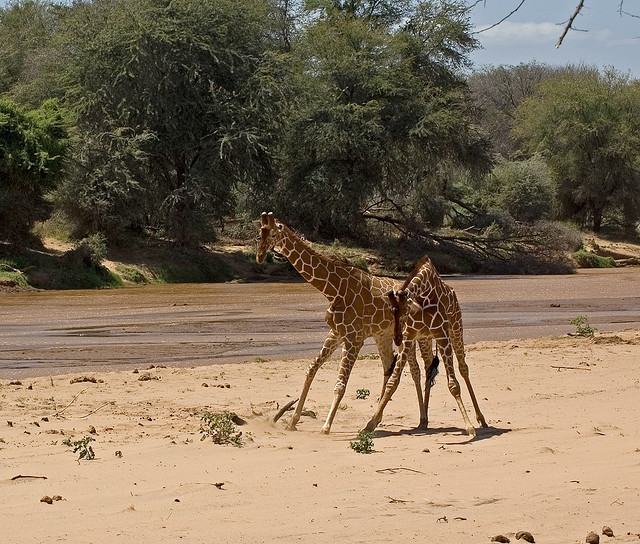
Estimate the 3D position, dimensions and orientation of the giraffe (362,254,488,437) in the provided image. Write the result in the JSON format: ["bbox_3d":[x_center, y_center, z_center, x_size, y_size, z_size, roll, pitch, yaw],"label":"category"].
[{"bbox_3d":[1.762,1.217,16.451,1.697,2.974,3.524,2,1,22],"label":"giraffe"}]
